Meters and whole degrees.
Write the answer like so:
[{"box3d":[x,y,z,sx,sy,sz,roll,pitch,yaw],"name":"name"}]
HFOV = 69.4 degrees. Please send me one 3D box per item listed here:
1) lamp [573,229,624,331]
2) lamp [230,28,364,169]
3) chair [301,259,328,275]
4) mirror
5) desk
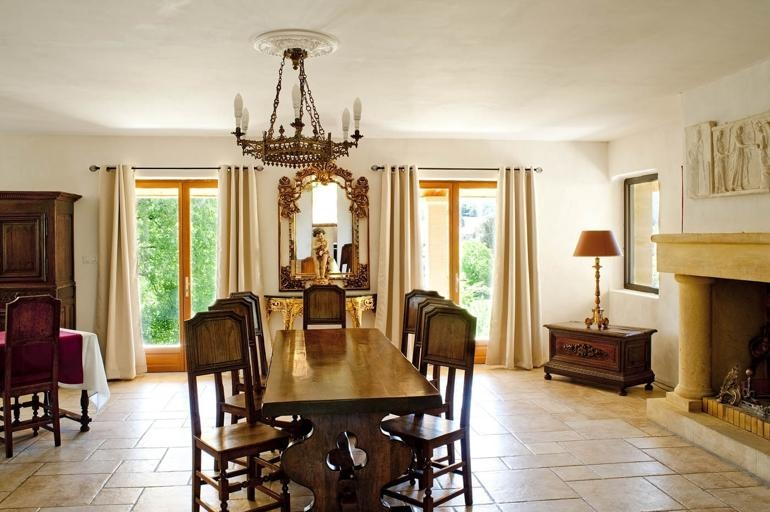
[{"box3d":[2.734,0.280,7.162,0.538,1.240,0.993,0,2,22],"name":"lamp"},{"box3d":[-0.800,-1.318,5.065,1.206,1.093,1.164,1,-10,-18],"name":"lamp"},{"box3d":[-0.995,0.146,7.590,0.296,0.206,0.209,2,-3,-6],"name":"chair"},{"box3d":[-0.876,-0.361,7.435,1.788,2.275,0.118,0,3,-2],"name":"mirror"},{"box3d":[-3.361,1.220,5.758,1.029,0.955,1.043,5,-5,-32],"name":"desk"}]
